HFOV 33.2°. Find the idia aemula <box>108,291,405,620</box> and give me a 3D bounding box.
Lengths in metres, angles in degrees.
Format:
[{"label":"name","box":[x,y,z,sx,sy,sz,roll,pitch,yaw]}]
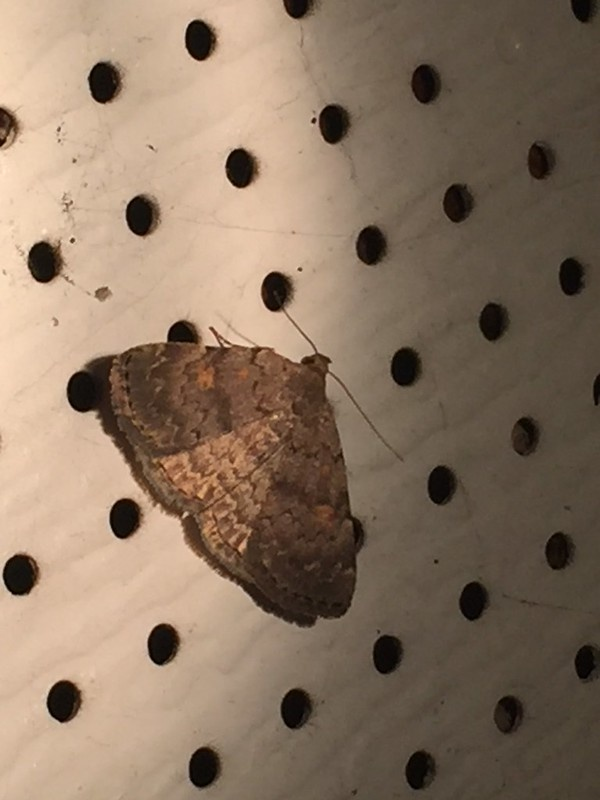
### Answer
[{"label":"idia aemula","box":[-0.041,0.075,1.129,0.260,0.395,0.099,-30,-28,-20]}]
